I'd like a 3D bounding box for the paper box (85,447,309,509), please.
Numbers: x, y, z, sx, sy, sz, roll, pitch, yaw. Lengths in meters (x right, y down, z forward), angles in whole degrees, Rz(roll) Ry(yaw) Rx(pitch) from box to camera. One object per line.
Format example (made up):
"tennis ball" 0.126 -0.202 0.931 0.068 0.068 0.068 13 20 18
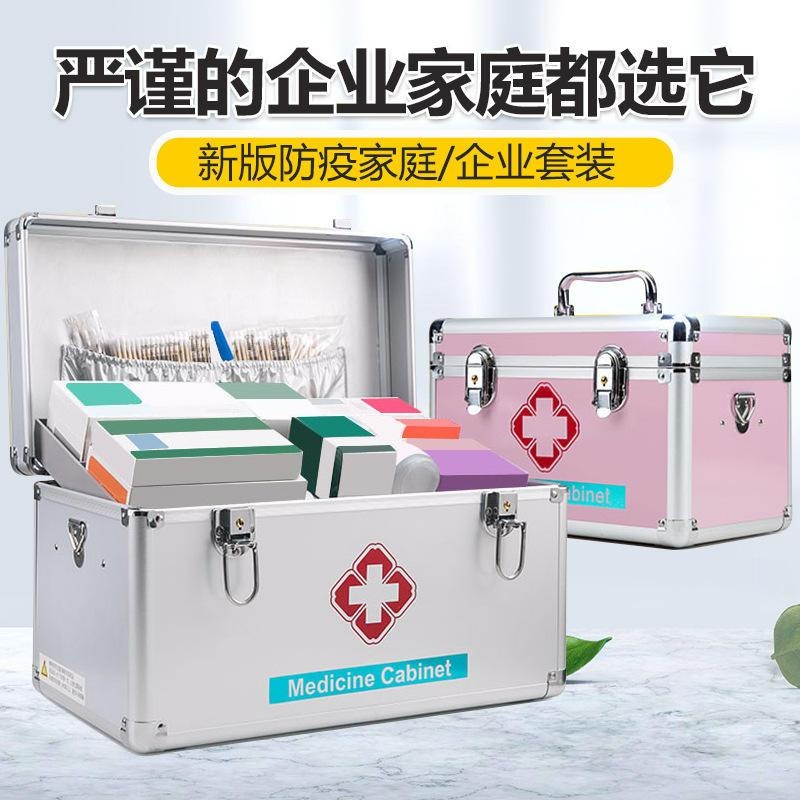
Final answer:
"paper box" -0.238 0.093 1.127 0.260 0.061 0.137 1 -3 -15

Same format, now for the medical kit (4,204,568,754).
"medical kit" -0.125 0.152 1.533 0.842 0.961 0.689 -1 1 -37

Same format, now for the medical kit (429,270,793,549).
"medical kit" 0.450 0.038 2.058 0.499 0.678 0.739 1 -1 -41

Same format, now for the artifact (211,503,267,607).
"artifact" -0.186 0.178 1.086 0.056 0.113 0.024 1 -2 -20
